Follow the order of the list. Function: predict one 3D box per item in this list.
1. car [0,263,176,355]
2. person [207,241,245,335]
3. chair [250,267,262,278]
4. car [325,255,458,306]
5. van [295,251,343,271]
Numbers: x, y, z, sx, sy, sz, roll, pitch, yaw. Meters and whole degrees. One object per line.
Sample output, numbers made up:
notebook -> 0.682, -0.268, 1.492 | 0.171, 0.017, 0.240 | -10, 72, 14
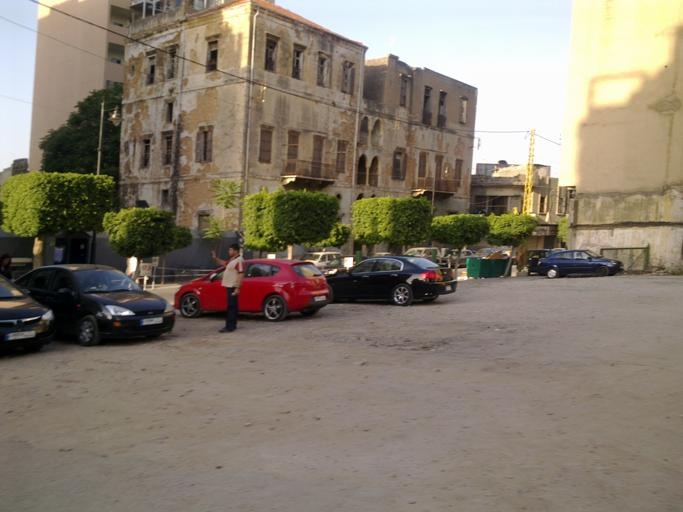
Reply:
car -> -5.383, 1.046, 14.276 | 3.009, 1.580, 1.522 | 3, 6, 38
person -> -2.599, 0.741, 15.199 | 0.569, 2.028, 1.501 | -1, 5, -9
chair -> -2.253, 0.422, 17.005 | 0.306, 0.220, 0.282 | 2, -6, 1
car -> 1.583, 0.765, 20.390 | 4.033, 0.961, 1.677 | 2, 2, 25
van -> -0.895, 0.235, 36.047 | 2.153, 0.742, 1.127 | 2, -3, -38
